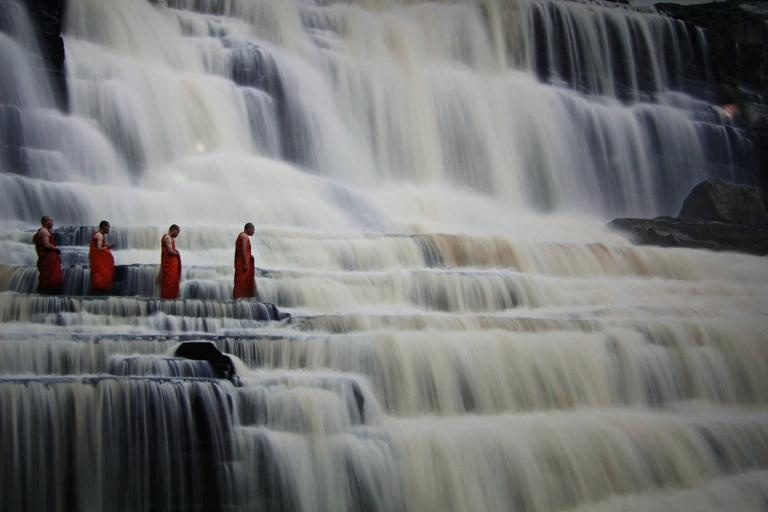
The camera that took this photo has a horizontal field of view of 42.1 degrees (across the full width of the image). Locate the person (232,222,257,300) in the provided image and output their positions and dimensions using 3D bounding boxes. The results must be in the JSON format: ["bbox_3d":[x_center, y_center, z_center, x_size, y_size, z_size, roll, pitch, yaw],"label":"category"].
[{"bbox_3d":[-2.823,0.209,19.961,0.481,1.186,0.888,-2,12,-9],"label":"person"}]

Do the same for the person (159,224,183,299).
[{"bbox_3d":[-4.248,0.118,19.669,0.456,1.338,0.785,-3,12,-11],"label":"person"}]

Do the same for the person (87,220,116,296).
[{"bbox_3d":[-5.658,-0.037,19.889,0.511,1.390,1.196,-4,13,-16],"label":"person"}]
